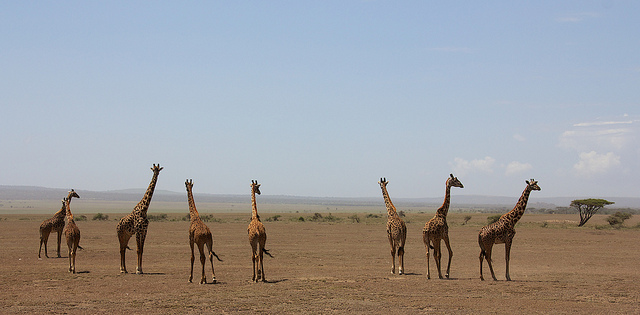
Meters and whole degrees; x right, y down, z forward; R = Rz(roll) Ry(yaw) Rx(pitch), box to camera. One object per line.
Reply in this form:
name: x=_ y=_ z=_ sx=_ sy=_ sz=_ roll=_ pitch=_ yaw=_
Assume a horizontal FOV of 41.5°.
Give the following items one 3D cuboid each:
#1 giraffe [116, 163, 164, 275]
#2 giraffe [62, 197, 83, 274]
giraffe: x=-18.223 y=6.291 z=85.443 sx=7.451 sy=10.503 sz=2.360 roll=-8 pitch=-11 yaw=40
giraffe: x=-25.511 y=8.174 z=86.456 sx=2.492 sy=7.054 sz=2.357 roll=0 pitch=-1 yaw=-3
